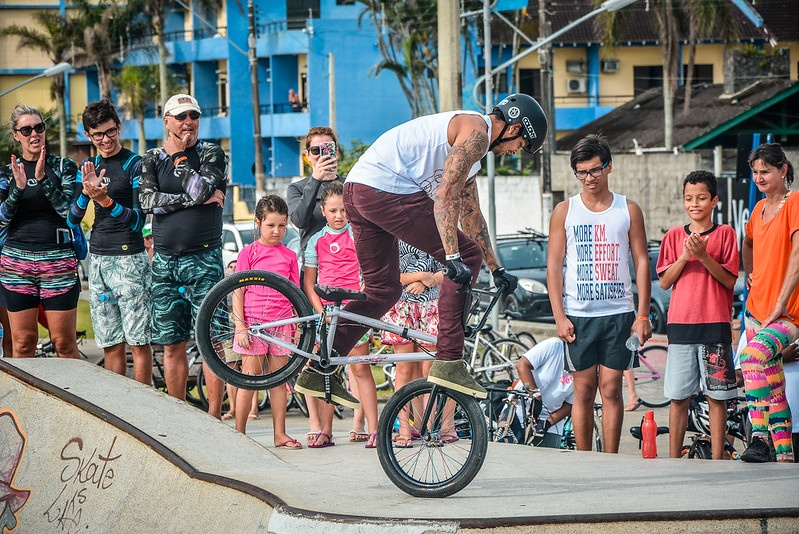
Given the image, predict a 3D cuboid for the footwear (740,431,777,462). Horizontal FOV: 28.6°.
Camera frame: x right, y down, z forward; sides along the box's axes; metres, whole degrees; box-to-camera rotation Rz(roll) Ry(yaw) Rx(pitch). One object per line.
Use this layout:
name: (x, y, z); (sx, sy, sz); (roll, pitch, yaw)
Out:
footwear: (5.816, 3.059, 26.306); (0.721, 0.319, 0.271); (12, -12, -36)

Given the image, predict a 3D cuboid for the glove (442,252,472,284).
glove: (1.017, 0.024, 25.359); (0.395, 0.416, 0.148); (-1, 0, -1)

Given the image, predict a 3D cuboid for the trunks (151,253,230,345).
trunks: (-3.257, 0.525, 26.722); (1.444, 1.999, 1.003); (0, -2, 0)

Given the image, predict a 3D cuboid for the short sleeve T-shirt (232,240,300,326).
short sleeve T-shirt: (-2.015, 0.308, 26.629); (1.282, 1.735, 0.660); (1, -8, -19)

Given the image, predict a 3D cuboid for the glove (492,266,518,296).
glove: (1.806, 0.211, 25.966); (0.203, 0.440, 0.325); (-15, -33, -55)

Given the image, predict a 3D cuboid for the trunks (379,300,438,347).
trunks: (0.374, 0.833, 27.060); (1.154, 1.136, 0.669); (2, -8, -6)

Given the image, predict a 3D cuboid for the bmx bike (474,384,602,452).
bmx bike: (2.511, 2.568, 27.457); (1.935, 1.280, 0.982); (7, -8, 4)

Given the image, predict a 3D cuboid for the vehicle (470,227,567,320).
vehicle: (2.799, 0.148, 37.043); (1.298, 1.248, 2.364); (-1, -1, -26)

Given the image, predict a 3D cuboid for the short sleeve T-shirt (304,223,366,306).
short sleeve T-shirt: (-0.890, -0.029, 26.734); (1.253, 1.448, 0.737); (-3, 1, -2)

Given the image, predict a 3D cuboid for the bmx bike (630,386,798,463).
bmx bike: (5.289, 2.675, 27.177); (2.189, 1.443, 1.219); (-3, -5, 30)

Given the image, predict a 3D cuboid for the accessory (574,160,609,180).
accessory: (3.229, -1.689, 26.834); (0.372, 0.130, 0.395); (-14, 7, 15)

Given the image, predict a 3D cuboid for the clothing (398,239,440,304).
clothing: (0.374, 0.114, 26.683); (0.977, 0.750, 1.297); (15, -8, 2)

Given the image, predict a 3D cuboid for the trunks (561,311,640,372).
trunks: (3.414, 1.309, 27.047); (1.445, 1.221, 0.853); (-1, -9, 3)
